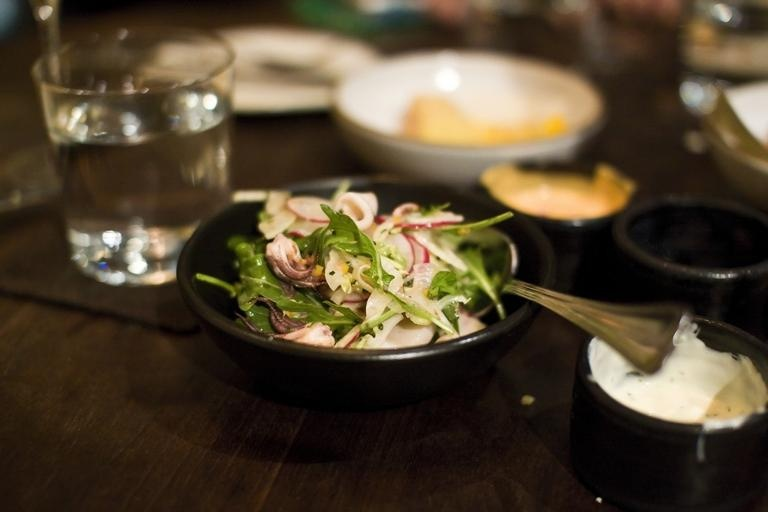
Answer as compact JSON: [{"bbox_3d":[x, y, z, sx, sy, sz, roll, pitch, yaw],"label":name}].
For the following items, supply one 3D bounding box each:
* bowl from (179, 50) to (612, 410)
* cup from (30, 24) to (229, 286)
[{"bbox_3d":[0.048,-0.033,1.457,0.555,0.188,0.935,25,43,28],"label":"bowl"},{"bbox_3d":[-0.498,-0.193,1.357,0.362,0.393,0.372,5,33,-3],"label":"cup"}]
